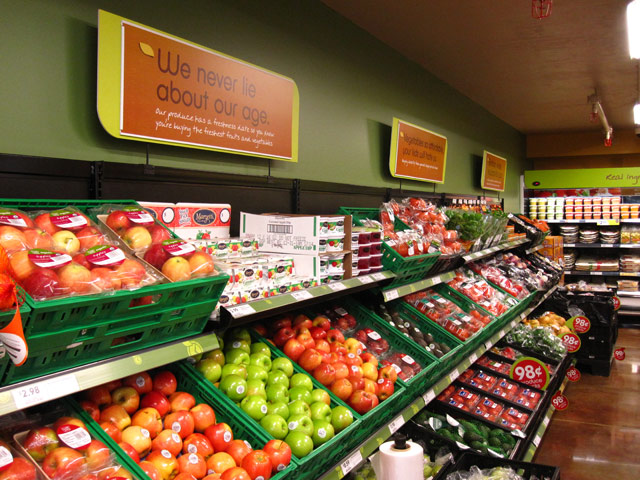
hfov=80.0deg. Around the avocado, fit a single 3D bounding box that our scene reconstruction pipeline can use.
[{"bbox_3d":[1.039,1.343,2.699,0.491,0.159,0.340,12,8,35],"label":"avocado"}]
